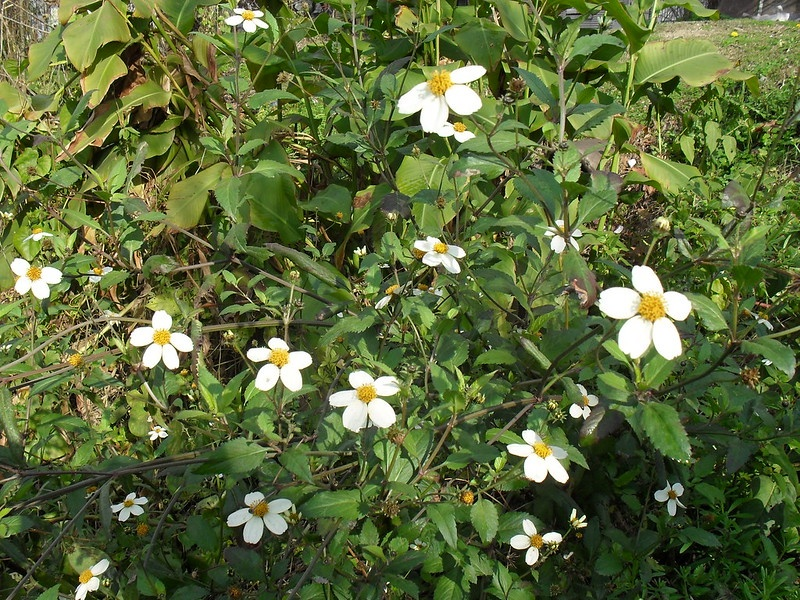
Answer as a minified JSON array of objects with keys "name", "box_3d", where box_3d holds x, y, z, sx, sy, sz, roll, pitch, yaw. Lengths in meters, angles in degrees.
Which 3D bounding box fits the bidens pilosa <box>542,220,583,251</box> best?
[{"name":"bidens pilosa","box_3d":[0.586,-0.217,2.002,0.130,0.144,0.066,-4,-1,44]}]

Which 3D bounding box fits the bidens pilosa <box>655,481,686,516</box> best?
[{"name":"bidens pilosa","box_3d":[1.002,0.752,2.119,0.116,0.053,0.126,-18,76,16]}]

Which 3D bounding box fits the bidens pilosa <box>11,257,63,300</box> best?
[{"name":"bidens pilosa","box_3d":[-1.527,-0.098,2.384,0.182,0.063,0.199,3,67,-22]}]

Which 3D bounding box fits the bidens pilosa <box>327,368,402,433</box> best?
[{"name":"bidens pilosa","box_3d":[-0.099,0.299,1.612,0.176,0.098,0.192,-16,67,-2]}]

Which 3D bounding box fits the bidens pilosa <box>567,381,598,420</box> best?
[{"name":"bidens pilosa","box_3d":[0.647,0.344,1.998,0.032,0.128,0.134,7,68,55]}]

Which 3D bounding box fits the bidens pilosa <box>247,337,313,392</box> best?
[{"name":"bidens pilosa","box_3d":[-0.374,0.211,1.755,0.158,0.068,0.187,-13,51,-13]}]

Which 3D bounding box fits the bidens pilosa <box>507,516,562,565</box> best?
[{"name":"bidens pilosa","box_3d":[0.468,0.865,1.967,0.169,0.244,0.098,-26,40,-22]}]

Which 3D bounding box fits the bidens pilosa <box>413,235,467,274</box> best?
[{"name":"bidens pilosa","box_3d":[0.136,-0.159,1.975,0.166,0.081,0.153,0,39,9]}]
